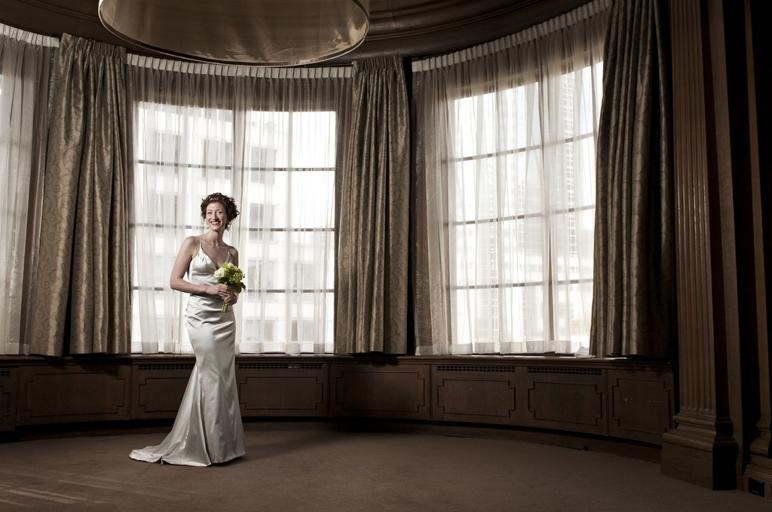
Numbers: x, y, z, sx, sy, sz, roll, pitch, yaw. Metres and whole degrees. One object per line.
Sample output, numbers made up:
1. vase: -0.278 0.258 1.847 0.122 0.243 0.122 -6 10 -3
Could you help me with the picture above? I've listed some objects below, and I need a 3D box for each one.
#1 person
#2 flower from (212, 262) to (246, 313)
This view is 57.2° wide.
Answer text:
1. person: -1.549 0.564 5.840 0.718 2.188 0.624 0 1 -18
2. flower: -1.281 0.212 5.930 0.218 0.307 0.288 -6 32 -8
